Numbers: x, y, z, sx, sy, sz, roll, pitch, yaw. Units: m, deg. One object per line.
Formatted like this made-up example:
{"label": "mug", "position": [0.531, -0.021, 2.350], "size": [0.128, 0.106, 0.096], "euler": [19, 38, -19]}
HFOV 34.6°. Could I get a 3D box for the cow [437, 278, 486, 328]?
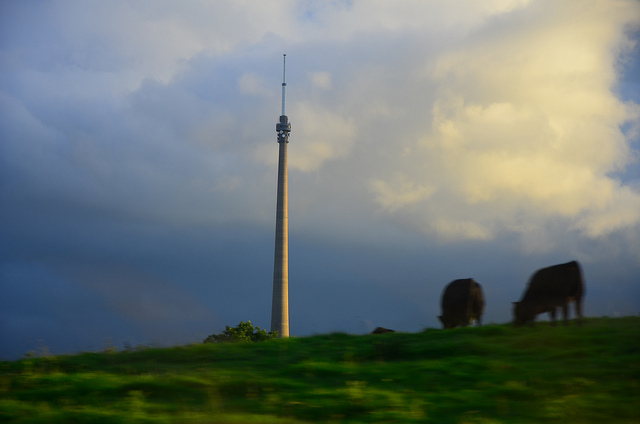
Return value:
{"label": "cow", "position": [10.072, 6.466, 72.146], "size": [2.892, 3.534, 1.384], "euler": [0, -17, 10]}
